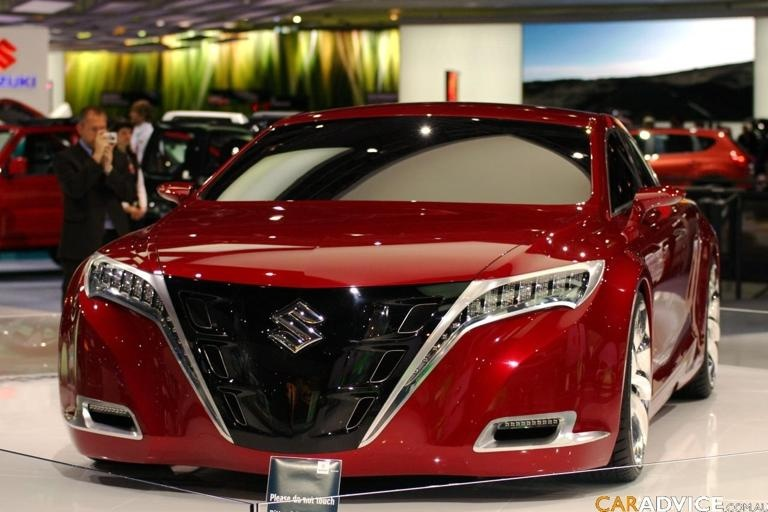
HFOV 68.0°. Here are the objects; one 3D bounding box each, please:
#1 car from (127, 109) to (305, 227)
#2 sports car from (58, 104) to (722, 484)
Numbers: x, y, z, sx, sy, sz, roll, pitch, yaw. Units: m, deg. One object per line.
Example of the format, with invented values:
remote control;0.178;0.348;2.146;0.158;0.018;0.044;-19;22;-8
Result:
car;-2.753;-1.981;11.984;4.609;2.148;2.635;-7;9;-33
sports car;0.342;-0.295;3.573;2.521;1.242;3.558;2;19;17
